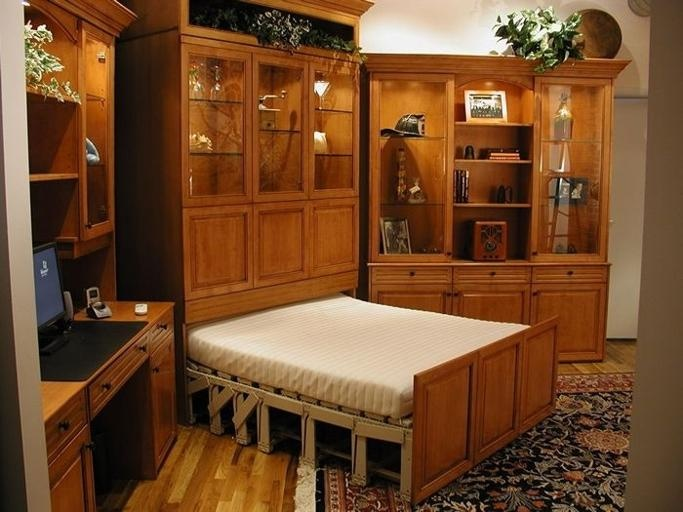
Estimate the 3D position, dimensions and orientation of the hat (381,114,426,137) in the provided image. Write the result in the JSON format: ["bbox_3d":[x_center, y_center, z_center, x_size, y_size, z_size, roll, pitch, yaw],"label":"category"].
[{"bbox_3d":[0.598,-1.217,5.177,0.296,0.137,0.229,-3,14,-9],"label":"hat"}]

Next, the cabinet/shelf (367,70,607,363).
[{"bbox_3d":[1.352,-0.376,5.088,2.509,3.460,0.850,0,3,1],"label":"cabinet/shelf"}]

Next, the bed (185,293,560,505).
[{"bbox_3d":[0.033,0.753,3.564,1.441,0.516,1.427,7,14,38],"label":"bed"}]

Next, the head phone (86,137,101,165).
[{"bbox_3d":[-1.474,-0.640,3.338,0.040,0.122,0.104,-14,6,-8],"label":"head phone"}]

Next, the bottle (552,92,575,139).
[{"bbox_3d":[2.133,-1.342,5.288,0.198,0.459,0.054,-2,9,-17],"label":"bottle"}]

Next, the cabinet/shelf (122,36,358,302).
[{"bbox_3d":[-0.839,-0.697,4.241,0.739,2.337,1.967,4,7,41],"label":"cabinet/shelf"}]
